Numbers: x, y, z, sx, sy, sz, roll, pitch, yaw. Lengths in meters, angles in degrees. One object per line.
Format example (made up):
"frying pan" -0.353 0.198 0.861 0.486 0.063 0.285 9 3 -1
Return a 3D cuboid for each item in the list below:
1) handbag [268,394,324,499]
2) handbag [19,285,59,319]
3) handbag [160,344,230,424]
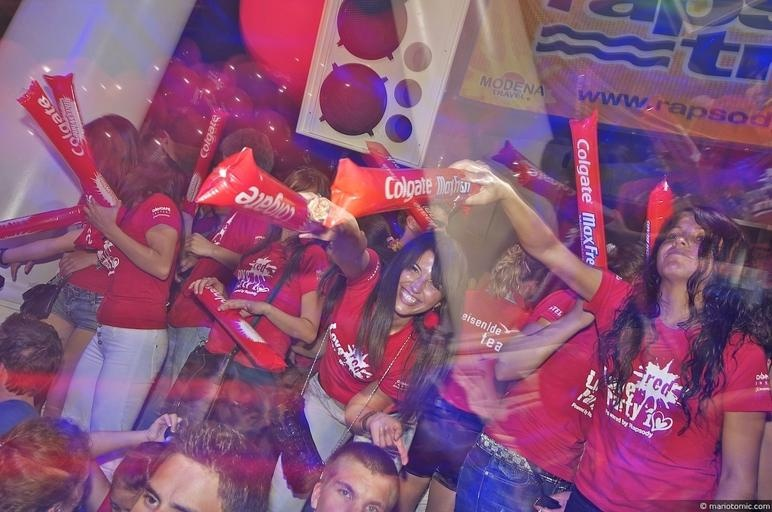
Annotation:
"handbag" -0.477 1.043 2.922 0.176 0.555 0.215 -19 -3 37
"handbag" -2.229 0.285 3.470 0.200 0.256 0.104 15 -10 32
"handbag" -1.109 0.770 3.184 0.297 0.486 0.142 24 7 4
